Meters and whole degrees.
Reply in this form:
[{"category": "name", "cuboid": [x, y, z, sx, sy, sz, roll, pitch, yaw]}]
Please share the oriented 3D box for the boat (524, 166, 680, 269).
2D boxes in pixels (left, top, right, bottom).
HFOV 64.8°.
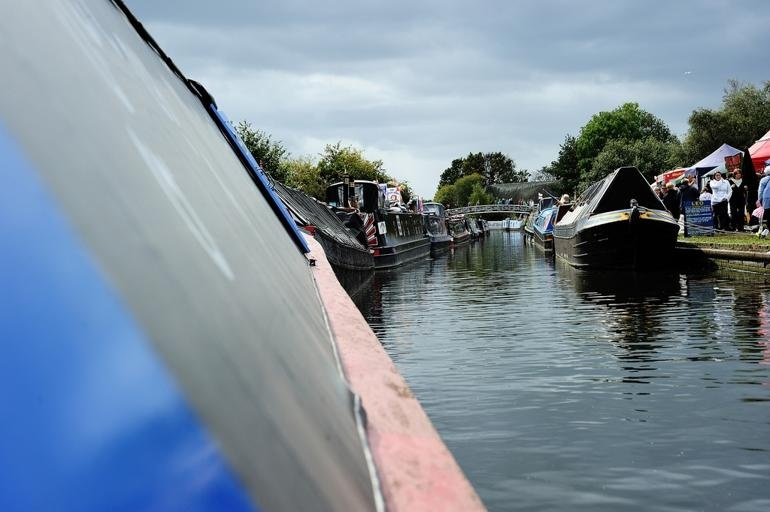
[{"category": "boat", "cuboid": [7.227, -1.202, 20.152, 2.222, 3.205, 5.745, -3, 3, 2]}]
